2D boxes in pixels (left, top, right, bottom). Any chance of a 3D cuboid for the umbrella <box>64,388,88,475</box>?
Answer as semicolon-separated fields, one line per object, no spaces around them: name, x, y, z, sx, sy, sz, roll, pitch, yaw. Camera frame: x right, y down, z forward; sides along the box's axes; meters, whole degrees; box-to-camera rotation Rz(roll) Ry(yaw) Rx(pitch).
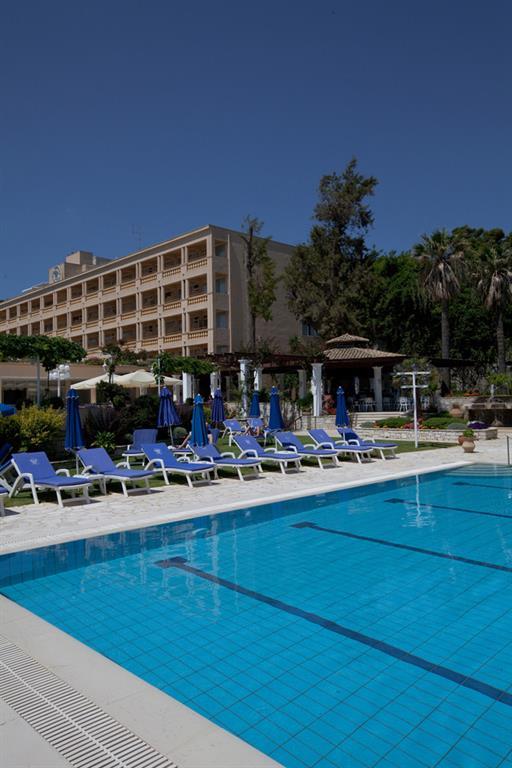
umbrella;-3.441;0.856;12.152;0.316;1.519;0.945;-2;-2;-17

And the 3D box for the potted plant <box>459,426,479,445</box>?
potted plant;6.777;1.660;20.419;0.489;0.455;0.455;-4;-5;28
